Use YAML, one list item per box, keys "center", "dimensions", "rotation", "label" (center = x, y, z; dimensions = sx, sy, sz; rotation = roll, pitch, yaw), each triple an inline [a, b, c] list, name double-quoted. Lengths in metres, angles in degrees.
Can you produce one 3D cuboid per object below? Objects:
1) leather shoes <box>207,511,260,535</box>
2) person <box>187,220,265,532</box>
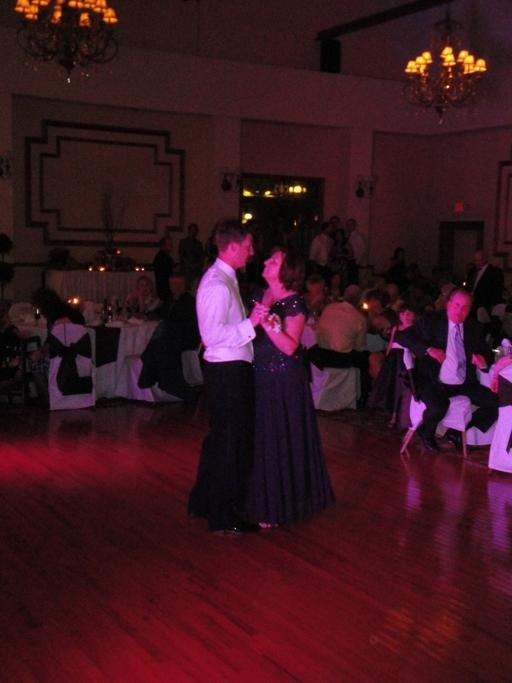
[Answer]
- center: [-0.104, 0.811, 2.413]
  dimensions: [0.115, 0.043, 0.158]
  rotation: [1, -1, -19]
  label: "leather shoes"
- center: [-0.136, 0.188, 2.306]
  dimensions: [0.295, 1.376, 0.503]
  rotation: [-1, 6, -7]
  label: "person"
